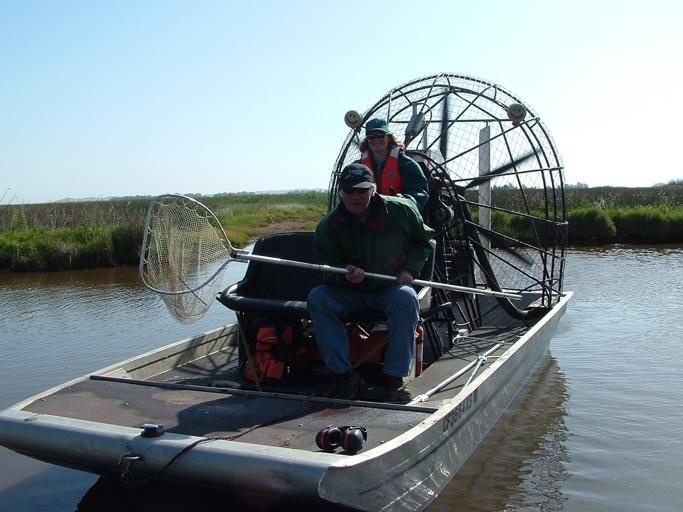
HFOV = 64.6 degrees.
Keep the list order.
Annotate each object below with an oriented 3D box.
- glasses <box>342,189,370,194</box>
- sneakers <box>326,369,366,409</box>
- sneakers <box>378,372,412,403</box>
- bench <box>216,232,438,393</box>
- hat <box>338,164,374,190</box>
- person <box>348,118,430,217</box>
[{"bbox_3d":[0.107,-0.484,3.999,0.183,0.042,0.022,-2,10,-11],"label":"glasses"},{"bbox_3d":[0.055,0.964,4.033,0.173,0.126,0.313,-5,-7,19],"label":"sneakers"},{"bbox_3d":[0.403,0.982,4.002,0.171,0.173,0.419,-1,-10,-1],"label":"sneakers"},{"bbox_3d":[-0.323,0.361,4.600,1.349,0.918,0.801,4,14,28],"label":"bench"},{"bbox_3d":[0.121,-0.603,4.081,0.259,0.184,0.234,0,10,3],"label":"hat"},{"bbox_3d":[0.362,-0.757,5.406,0.992,1.322,0.492,1,-18,8],"label":"person"}]
